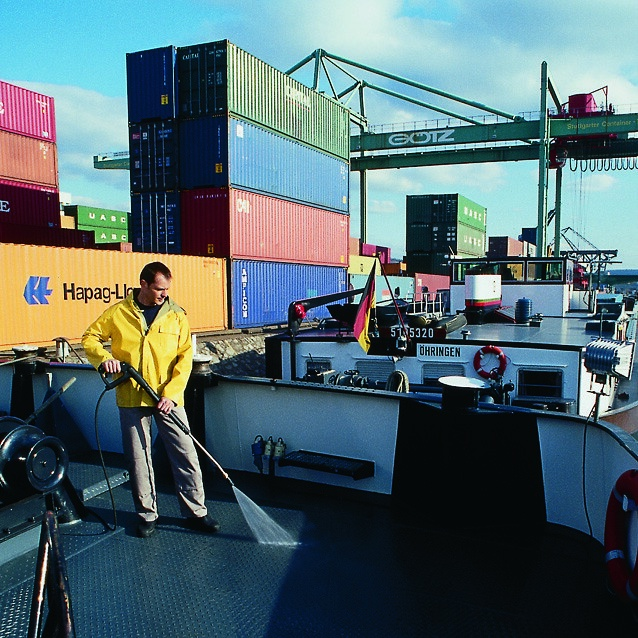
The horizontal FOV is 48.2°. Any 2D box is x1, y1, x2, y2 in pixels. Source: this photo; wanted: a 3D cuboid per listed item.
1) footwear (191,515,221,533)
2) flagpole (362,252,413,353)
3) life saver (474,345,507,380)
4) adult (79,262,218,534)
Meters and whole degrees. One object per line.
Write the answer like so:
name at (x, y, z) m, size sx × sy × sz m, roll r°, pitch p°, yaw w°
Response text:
footwear at (-0.893, 1.604, 5.585) m, size 0.262 × 0.126 × 0.096 m, roll 0°, pitch 6°, yaw 21°
flagpole at (0.771, -0.187, 8.499) m, size 0.658 × 1.418 × 0.157 m, roll 0°, pitch 42°, yaw 3°
life saver at (2.090, 0.533, 8.681) m, size 0.332 × 0.422 × 0.109 m, roll 10°, pitch 1°, yaw 41°
adult at (-1.324, 0.638, 5.561) m, size 0.862 × 2.277 × 0.596 m, roll -3°, pitch 13°, yaw -19°
